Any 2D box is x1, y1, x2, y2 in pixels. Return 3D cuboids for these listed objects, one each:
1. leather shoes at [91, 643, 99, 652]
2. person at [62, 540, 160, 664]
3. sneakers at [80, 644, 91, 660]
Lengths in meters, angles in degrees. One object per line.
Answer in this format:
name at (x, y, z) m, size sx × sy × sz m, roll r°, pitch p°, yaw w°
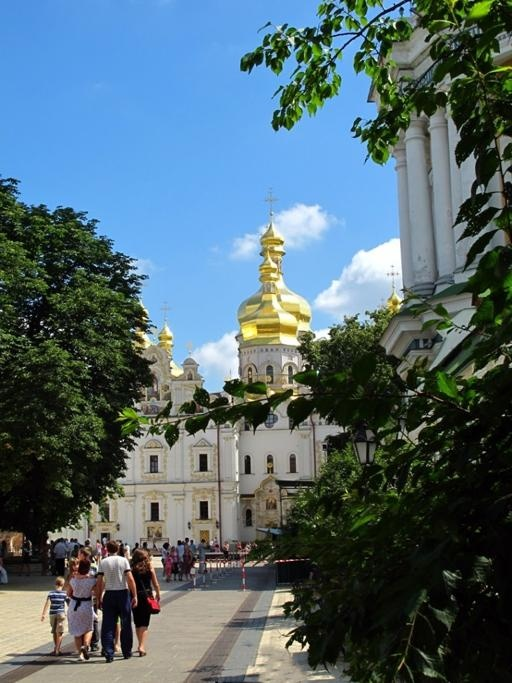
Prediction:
leather shoes at (-2.171, 4.060, 12.836) m, size 0.097 × 0.112 × 0.287 m, roll 1°, pitch -19°, yaw -6°
person at (-1.640, 3.236, 12.136) m, size 0.693 × 1.445 × 1.056 m, roll -7°, pitch -10°, yaw 7°
sneakers at (-2.133, 3.919, 12.072) m, size 0.092 × 0.232 × 0.105 m, roll -12°, pitch 26°, yaw -13°
